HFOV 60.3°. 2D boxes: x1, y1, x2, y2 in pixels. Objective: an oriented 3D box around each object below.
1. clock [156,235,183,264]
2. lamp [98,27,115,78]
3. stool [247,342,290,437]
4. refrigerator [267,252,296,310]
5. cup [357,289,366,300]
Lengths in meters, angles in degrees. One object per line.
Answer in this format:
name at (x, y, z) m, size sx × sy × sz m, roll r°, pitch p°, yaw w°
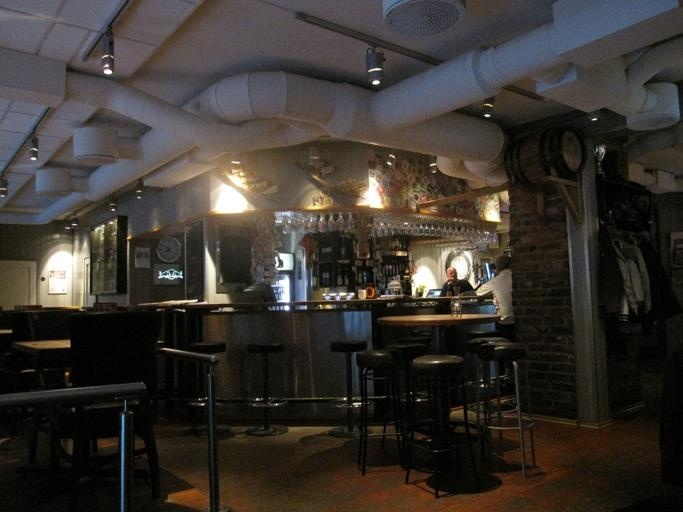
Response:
clock at (-3.689, -0.152, 12.526) m, size 0.662 × 0.679 × 0.101 m, roll 0°, pitch 0°, yaw -9°
lamp at (-2.345, -2.066, 5.923) m, size 0.120 × 0.444 × 0.233 m, roll -4°, pitch 7°, yaw -19°
stool at (-0.942, 1.614, 7.309) m, size 0.492 × 1.099 × 0.897 m, roll -2°, pitch 7°, yaw -5°
refrigerator at (-1.116, 0.420, 11.464) m, size 0.385 × 0.953 × 0.636 m, roll -2°, pitch 7°, yaw 2°
cup at (0.361, 0.680, 10.238) m, size 0.124 × 0.126 × 0.155 m, roll 1°, pitch -9°, yaw -2°
